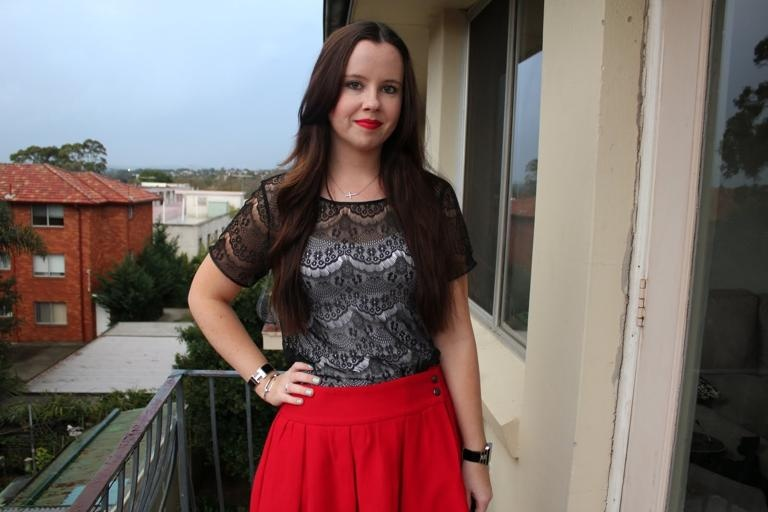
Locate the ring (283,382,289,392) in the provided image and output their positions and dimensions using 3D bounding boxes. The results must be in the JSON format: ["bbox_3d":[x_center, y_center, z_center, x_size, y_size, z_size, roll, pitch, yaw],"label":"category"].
[{"bbox_3d":[-0.318,0.421,1.899,0.015,0.022,0.006,-1,-3,23],"label":"ring"}]

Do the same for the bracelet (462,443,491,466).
[{"bbox_3d":[0.316,0.661,1.987,0.072,0.034,0.076,0,2,2],"label":"bracelet"}]

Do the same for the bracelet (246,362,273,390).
[{"bbox_3d":[-0.418,0.399,1.969,0.083,0.035,0.082,-47,-10,25],"label":"bracelet"}]

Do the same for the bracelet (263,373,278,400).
[{"bbox_3d":[-0.381,0.426,1.949,0.014,0.056,0.057,15,-19,1],"label":"bracelet"}]
